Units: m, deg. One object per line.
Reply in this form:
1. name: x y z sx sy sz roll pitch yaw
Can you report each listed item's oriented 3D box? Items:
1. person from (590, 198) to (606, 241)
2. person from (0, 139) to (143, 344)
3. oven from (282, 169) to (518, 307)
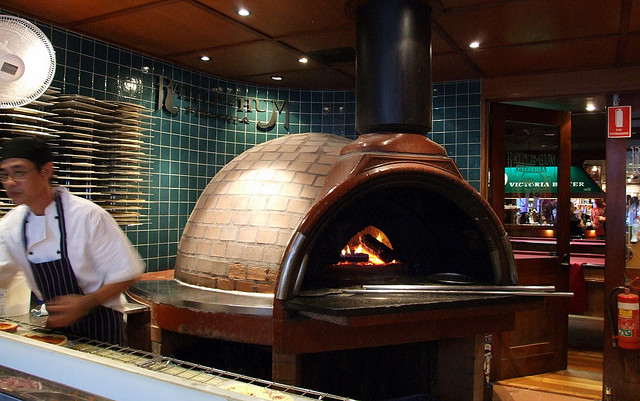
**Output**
1. person: 4.796 0.299 7.803 0.192 0.700 0.789 0 1 28
2. person: -1.754 0.309 2.921 0.957 1.414 0.755 0 0 2
3. oven: 0.644 0.261 3.807 1.977 1.018 0.686 0 1 -22
